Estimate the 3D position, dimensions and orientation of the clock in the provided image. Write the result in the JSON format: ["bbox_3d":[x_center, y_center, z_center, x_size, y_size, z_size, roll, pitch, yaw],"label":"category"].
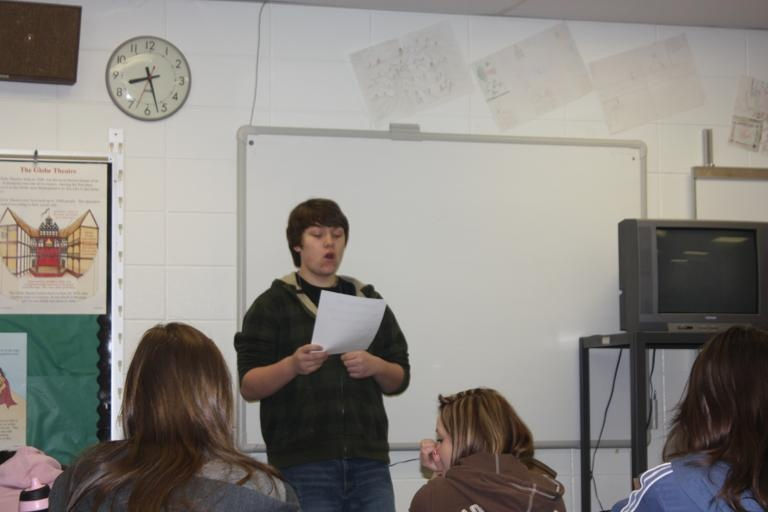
[{"bbox_3d":[-1.189,-0.895,4.559,0.455,0.419,0.024,6,12,13],"label":"clock"}]

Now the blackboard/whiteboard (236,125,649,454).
[{"bbox_3d":[0.218,0.219,4.499,1.846,1.230,0.100,-1,-1,-6],"label":"blackboard/whiteboard"}]
